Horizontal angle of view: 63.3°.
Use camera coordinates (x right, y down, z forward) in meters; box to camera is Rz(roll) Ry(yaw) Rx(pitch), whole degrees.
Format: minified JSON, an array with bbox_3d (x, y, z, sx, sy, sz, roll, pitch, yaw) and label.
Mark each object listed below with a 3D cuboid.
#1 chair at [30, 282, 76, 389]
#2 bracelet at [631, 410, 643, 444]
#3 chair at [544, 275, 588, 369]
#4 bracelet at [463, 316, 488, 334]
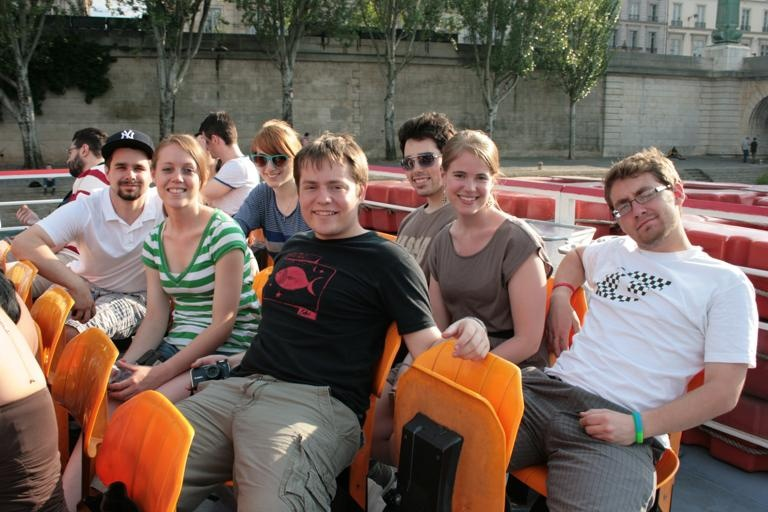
[{"bbox_3d":[-1.946,0.396,3.634,0.315,0.433,0.194,32,28,35],"label":"chair"},{"bbox_3d":[1.182,0.795,2.882,0.040,0.109,0.094,-8,1,15],"label":"bracelet"},{"bbox_3d":[0.971,0.368,3.682,0.441,0.451,0.338,1,3,15],"label":"chair"},{"bbox_3d":[0.448,0.314,2.948,0.083,0.071,0.250,4,7,16],"label":"bracelet"}]
